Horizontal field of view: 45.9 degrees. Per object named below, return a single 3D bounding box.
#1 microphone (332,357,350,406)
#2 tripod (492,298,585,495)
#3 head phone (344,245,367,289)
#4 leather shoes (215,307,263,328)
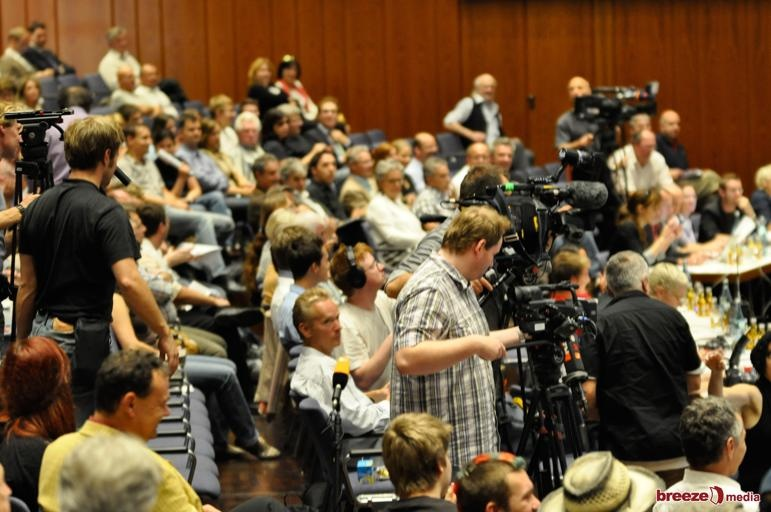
[{"bbox_3d":[-0.241,0.667,4.848,0.078,0.223,0.354,-2,0,-3],"label":"microphone"},{"bbox_3d":[0.975,0.780,5.307,0.391,0.841,1.074,-2,0,10],"label":"tripod"},{"bbox_3d":[-0.244,0.047,6.102,0.101,0.294,0.281,-15,18,-13],"label":"head phone"},{"bbox_3d":[-1.242,0.514,7.716,0.312,0.131,0.180,2,-4,-36],"label":"leather shoes"}]
